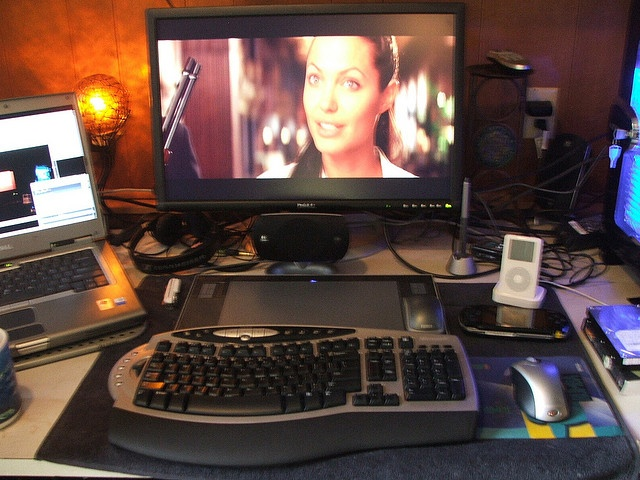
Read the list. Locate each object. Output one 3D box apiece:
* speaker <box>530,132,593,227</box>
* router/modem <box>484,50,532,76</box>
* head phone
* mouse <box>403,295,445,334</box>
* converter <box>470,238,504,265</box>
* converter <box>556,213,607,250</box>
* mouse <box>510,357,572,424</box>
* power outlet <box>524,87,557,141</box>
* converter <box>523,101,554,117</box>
[{"bbox_3d":[0.621,-0.153,1.301,0.123,0.221,0.167,8,21,27],"label":"speaker"},{"bbox_3d":[0.454,-0.425,1.195,0.056,0.032,0.101,-4,33,-11],"label":"router/modem"},{"bbox_3d":[-0.339,0.006,1.216,0.165,0.083,0.164,-9,34,13],"label":"head phone"},{"bbox_3d":[0.204,0.145,1.031,0.117,0.053,0.126,5,17,8],"label":"mouse"},{"bbox_3d":[0.408,0.020,1.239,0.077,0.047,0.104,5,20,17],"label":"converter"},{"bbox_3d":[0.646,-0.019,1.254,0.104,0.033,0.081,-5,43,5],"label":"converter"},{"bbox_3d":[0.363,0.244,0.826,0.081,0.067,0.082,-1,19,2],"label":"mouse"},{"bbox_3d":[0.587,-0.332,1.341,0.080,0.128,0.032,3,5,0],"label":"power outlet"},{"bbox_3d":[0.581,-0.345,1.327,0.058,0.041,0.047,-1,38,-1],"label":"converter"}]
